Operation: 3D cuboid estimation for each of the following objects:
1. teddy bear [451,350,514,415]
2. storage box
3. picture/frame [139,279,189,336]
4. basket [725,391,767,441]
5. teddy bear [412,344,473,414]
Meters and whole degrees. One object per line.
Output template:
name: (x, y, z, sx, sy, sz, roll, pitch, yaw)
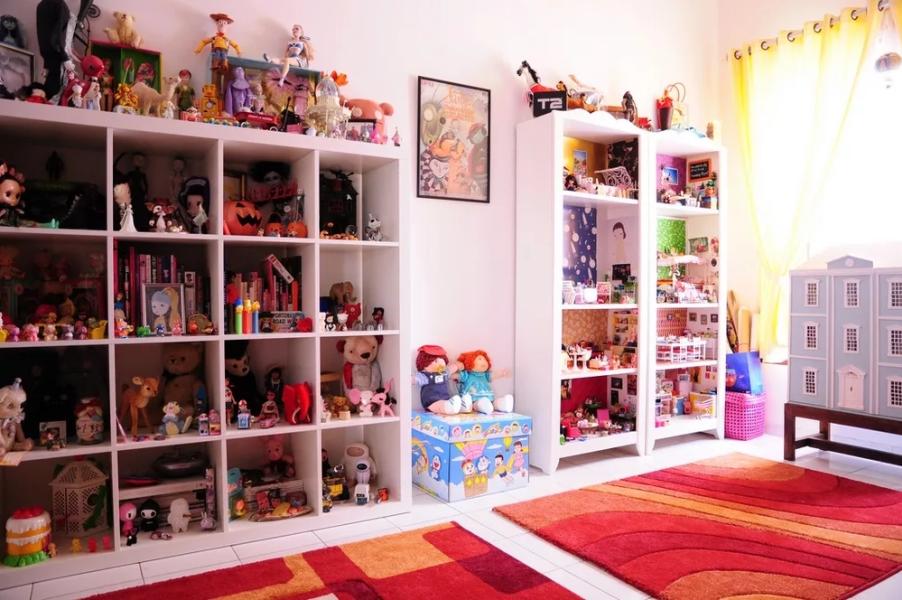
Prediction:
teddy bear: (0.185, 0.583, 4.747, 0.481, 0.381, 0.418, 1, 0, -30)
storage box: (0.101, 1.045, 4.426, 0.612, 0.379, 0.589, 1, -2, -38)
picture/frame: (-1.697, 0.046, 3.748, 0.305, 0.419, 0.045, 3, -8, -36)
basket: (2.520, 0.981, 5.614, 0.356, 0.328, 0.420, 1, -3, -15)
teddy bear: (-0.109, 0.545, 4.688, 0.509, 0.368, 0.428, 0, 2, -39)
